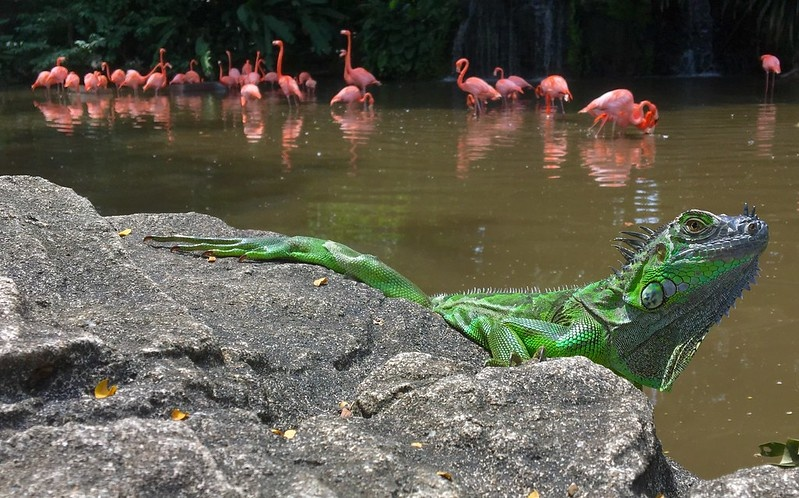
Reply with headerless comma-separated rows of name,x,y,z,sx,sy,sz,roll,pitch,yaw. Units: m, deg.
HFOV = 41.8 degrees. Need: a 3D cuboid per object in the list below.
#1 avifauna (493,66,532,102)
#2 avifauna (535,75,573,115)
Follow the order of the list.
avifauna,2.639,-4.014,25.668,1.001,0.686,0.425,20,23,37
avifauna,3.536,-3.578,23.738,0.717,0.737,1.232,-11,16,-23
